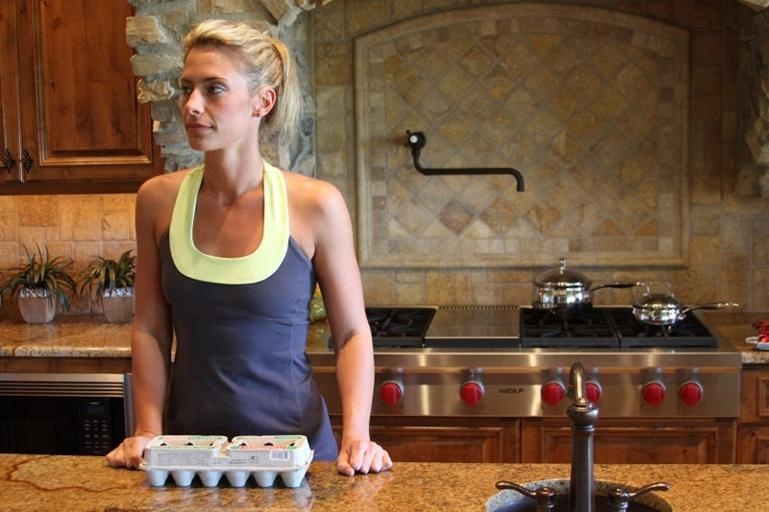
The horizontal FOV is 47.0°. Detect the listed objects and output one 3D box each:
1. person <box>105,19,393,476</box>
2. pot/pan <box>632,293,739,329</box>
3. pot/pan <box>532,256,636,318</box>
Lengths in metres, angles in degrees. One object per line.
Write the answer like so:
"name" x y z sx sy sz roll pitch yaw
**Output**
"person" -0.407 -0.029 2.670 0.748 1.308 0.334 0 -3 -1
"pot/pan" 1.231 0.217 3.582 0.419 0.114 0.189 1 2 24
"pot/pan" 0.849 0.150 3.824 0.456 0.188 0.218 1 -2 13
